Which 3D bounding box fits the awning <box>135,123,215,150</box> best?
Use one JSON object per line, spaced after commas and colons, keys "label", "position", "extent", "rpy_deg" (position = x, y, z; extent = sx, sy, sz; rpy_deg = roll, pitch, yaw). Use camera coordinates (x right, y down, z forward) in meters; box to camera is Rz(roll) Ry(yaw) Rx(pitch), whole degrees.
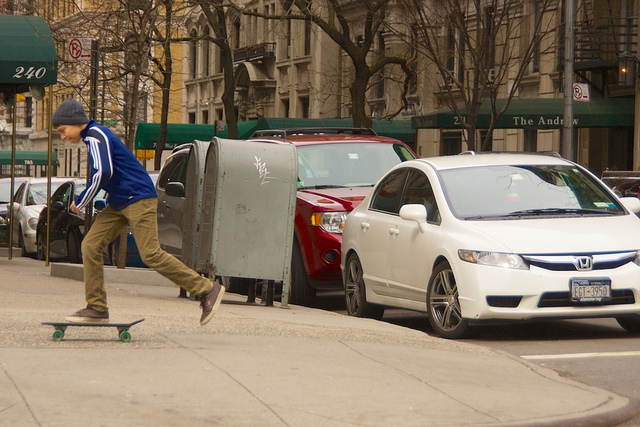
{"label": "awning", "position": [-6.610, -3.410, 36.125], "extent": [2.067, 1.346, 3.853], "rpy_deg": [3, 2, 18]}

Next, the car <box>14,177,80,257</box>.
{"label": "car", "position": [-7.321, 0.038, 21.391], "extent": [1.577, 1.350, 2.850], "rpy_deg": [0, -2, -20]}

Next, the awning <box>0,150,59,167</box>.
{"label": "awning", "position": [-19.976, -3.812, 55.705], "extent": [3.402, 1.084, 10.109], "rpy_deg": [2, 2, -16]}

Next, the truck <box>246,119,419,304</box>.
{"label": "truck", "position": [0.102, -0.163, 13.231], "extent": [1.977, 1.951, 3.469], "rpy_deg": [0, -2, -18]}

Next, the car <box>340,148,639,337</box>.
{"label": "car", "position": [2.120, 0.355, 9.958], "extent": [3.402, 2.208, 2.087], "rpy_deg": [3, 2, 8]}
